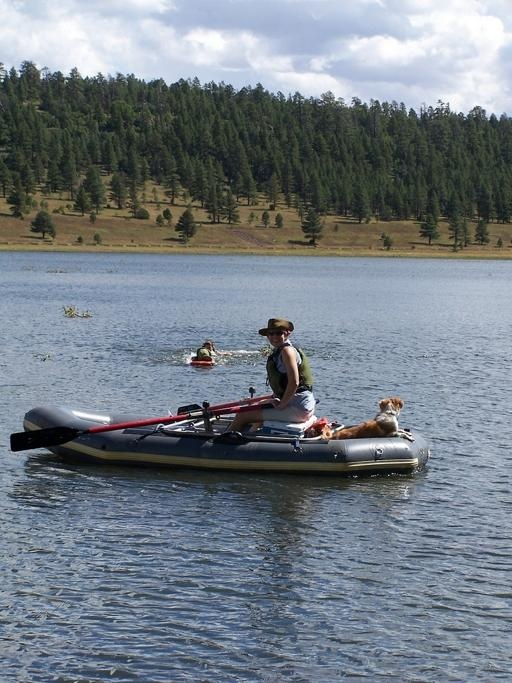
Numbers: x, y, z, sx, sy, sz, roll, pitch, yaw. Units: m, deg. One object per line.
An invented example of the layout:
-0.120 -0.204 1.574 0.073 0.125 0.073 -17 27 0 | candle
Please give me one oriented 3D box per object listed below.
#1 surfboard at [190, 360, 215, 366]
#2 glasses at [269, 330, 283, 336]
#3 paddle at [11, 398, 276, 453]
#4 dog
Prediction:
-1.420 0.578 27.709 0.661 0.135 0.643 1 6 0 | surfboard
0.308 -0.132 14.960 0.201 0.103 0.166 2 7 7 | glasses
-1.575 1.255 16.414 5.046 0.481 0.440 -2 5 -28 | paddle
1.717 1.231 15.998 1.814 0.727 0.521 -3 3 -32 | dog
